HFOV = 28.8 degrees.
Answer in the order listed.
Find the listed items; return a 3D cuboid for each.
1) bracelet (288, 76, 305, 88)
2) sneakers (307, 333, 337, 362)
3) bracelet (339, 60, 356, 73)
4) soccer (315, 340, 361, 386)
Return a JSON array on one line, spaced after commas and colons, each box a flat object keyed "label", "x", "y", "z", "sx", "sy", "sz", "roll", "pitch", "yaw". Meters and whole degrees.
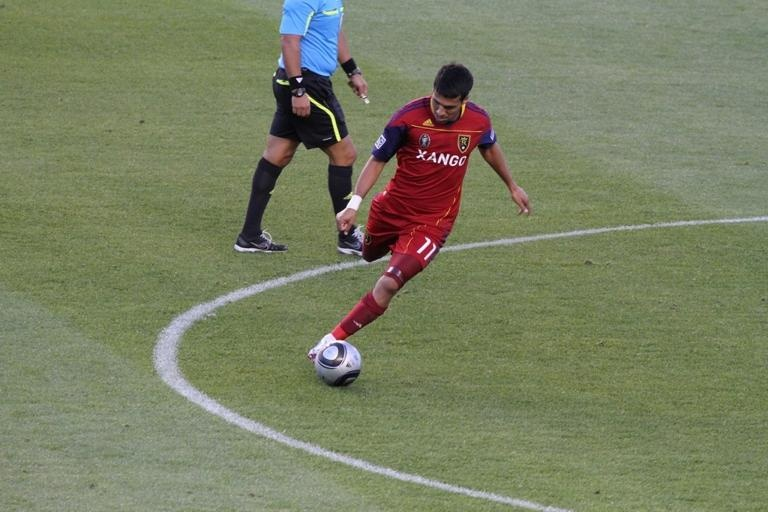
[{"label": "bracelet", "x": -0.744, "y": -1.474, "z": 12.547, "sx": 0.120, "sy": 0.077, "sz": 0.106, "roll": -3, "pitch": 20, "yaw": -4}, {"label": "sneakers", "x": -0.516, "y": 0.701, "z": 11.597, "sx": 0.097, "sy": 0.252, "sz": 0.176, "roll": 49, "pitch": 14, "yaw": -27}, {"label": "bracelet", "x": -0.303, "y": -1.696, "z": 13.259, "sx": 0.139, "sy": 0.096, "sz": 0.117, "roll": -23, "pitch": 8, "yaw": -10}, {"label": "soccer", "x": -0.345, "y": 0.831, "z": 11.445, "sx": 0.394, "sy": 0.249, "sz": 0.322, "roll": -1, "pitch": 2, "yaw": 2}]
